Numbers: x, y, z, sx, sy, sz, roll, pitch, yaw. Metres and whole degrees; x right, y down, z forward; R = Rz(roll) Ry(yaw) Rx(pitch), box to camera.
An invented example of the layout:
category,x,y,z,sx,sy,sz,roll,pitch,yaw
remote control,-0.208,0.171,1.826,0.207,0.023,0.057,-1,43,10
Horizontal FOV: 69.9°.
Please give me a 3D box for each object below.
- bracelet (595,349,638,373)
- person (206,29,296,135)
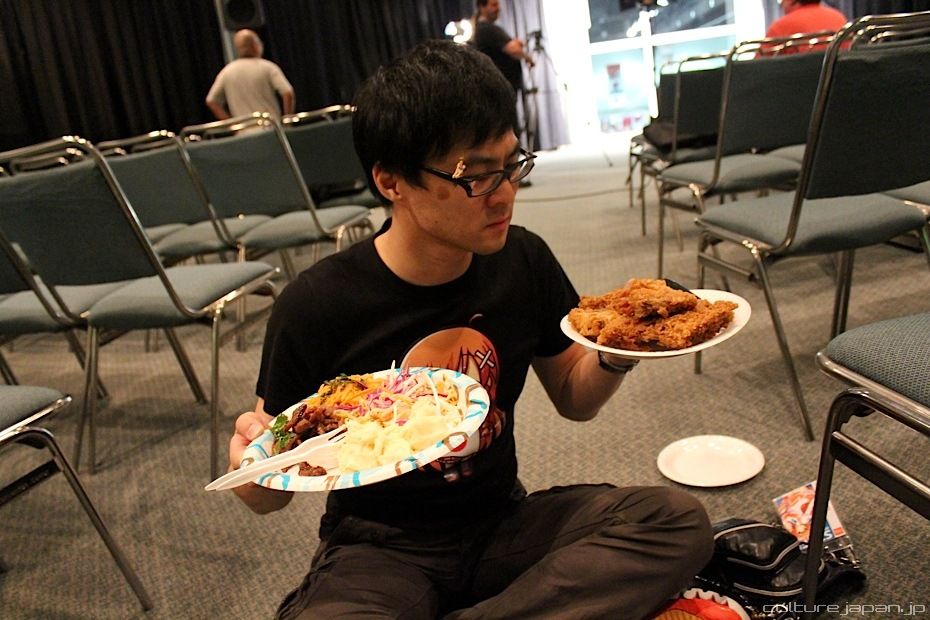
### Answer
category,x,y,z,sx,sy,sz,roll,pitch,yaw
bracelet,0.364,0.127,1.608,0.064,0.025,0.061,-2,6,-29
person,-1.836,-1.760,5.684,0.623,1.328,0.371,-13,55,-19
